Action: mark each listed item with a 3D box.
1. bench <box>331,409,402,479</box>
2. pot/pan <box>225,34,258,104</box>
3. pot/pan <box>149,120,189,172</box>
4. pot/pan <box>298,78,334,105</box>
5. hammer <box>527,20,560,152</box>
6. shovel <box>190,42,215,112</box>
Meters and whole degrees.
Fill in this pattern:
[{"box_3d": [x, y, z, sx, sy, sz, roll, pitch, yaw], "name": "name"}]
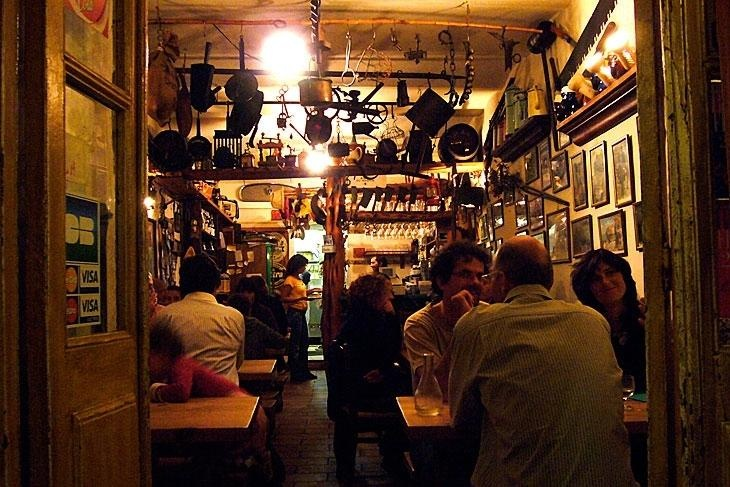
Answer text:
[{"box_3d": [-0.002, 1.245, 4.237, 0.491, 0.500, 0.502, 0, -17, -1], "name": "bench"}, {"box_3d": [-1.070, -1.563, 5.680, 0.284, 0.620, 0.641, 2, -6, -20], "name": "pot/pan"}, {"box_3d": [-1.771, -0.843, 5.789, 0.355, 0.444, 0.319, -1, -10, -7], "name": "pot/pan"}, {"box_3d": [-0.364, -1.096, 4.716, 0.206, 0.137, 0.209, -2, 2, -7], "name": "pot/pan"}, {"box_3d": [1.611, -1.430, 5.832, 0.247, 1.255, 0.529, -1, -6, 11], "name": "hammer"}, {"box_3d": [-1.362, -1.457, 5.438, 0.192, 0.686, 0.739, 1, -6, -14], "name": "shovel"}]
